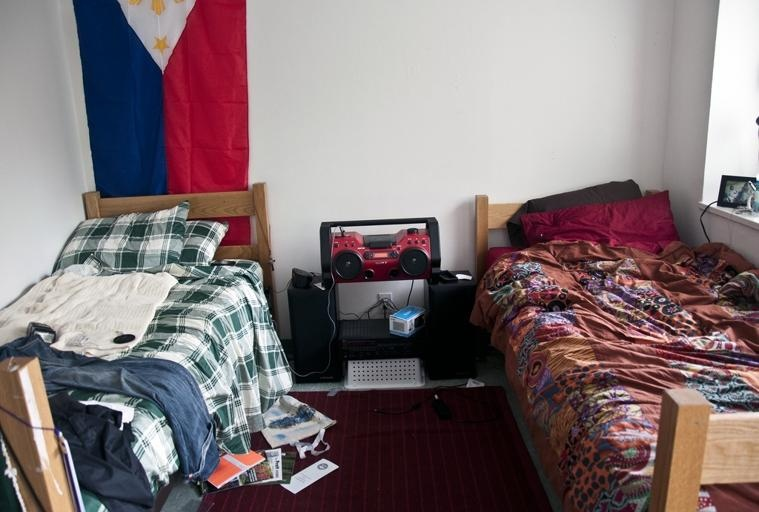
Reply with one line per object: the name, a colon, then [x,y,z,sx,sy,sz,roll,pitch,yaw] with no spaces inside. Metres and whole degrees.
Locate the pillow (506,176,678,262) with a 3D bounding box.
pillow: [1.483,-0.256,3.436,0.669,0.209,0.612,-12,45,8]
